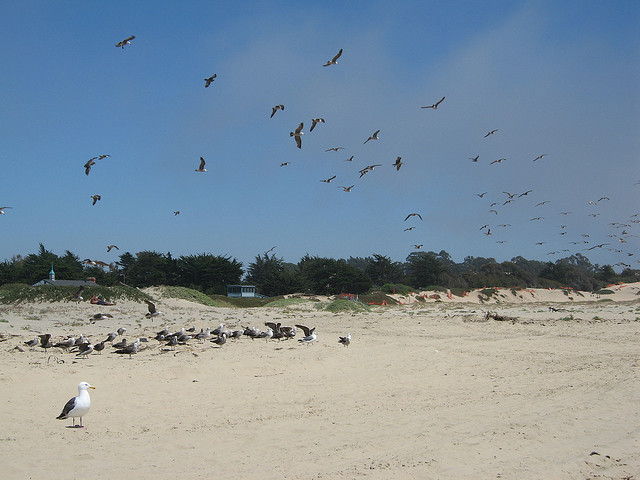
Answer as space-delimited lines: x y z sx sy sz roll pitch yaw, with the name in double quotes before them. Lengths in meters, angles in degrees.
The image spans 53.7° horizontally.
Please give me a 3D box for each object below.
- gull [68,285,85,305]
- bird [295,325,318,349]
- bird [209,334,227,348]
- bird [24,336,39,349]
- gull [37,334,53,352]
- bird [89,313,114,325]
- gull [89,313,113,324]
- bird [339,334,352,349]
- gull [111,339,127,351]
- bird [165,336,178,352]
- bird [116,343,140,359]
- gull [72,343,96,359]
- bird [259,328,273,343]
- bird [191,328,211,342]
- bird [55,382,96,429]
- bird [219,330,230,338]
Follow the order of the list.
"gull" -19.332 4.349 50.366 1.074 0.901 1.541 -2 -22 -6
"bird" -0.751 5.105 33.888 0.960 0.761 1.087 -4 -6 2
"bird" -5.300 5.224 33.293 0.727 0.571 1.137 -1 1 -10
"bird" -14.220 5.065 31.278 0.539 0.529 0.811 -1 1 -25
"gull" -13.598 4.932 31.243 0.680 0.541 0.864 -20 -20 3
"bird" -14.965 5.350 43.299 0.922 0.405 0.891 -18 -10 15
"gull" -14.963 5.336 43.252 0.759 0.360 0.893 27 3 12
"bird" 1.329 5.243 33.094 0.545 0.655 1.134 -1 1 2
"gull" -9.817 5.096 31.244 0.701 0.443 0.370 13 18 8
"bird" -7.527 5.209 32.384 0.506 0.626 1.103 -1 1 -13
"bird" -9.174 5.217 30.191 0.994 0.595 1.163 -1 1 -18
"gull" -11.105 5.148 29.922 0.740 0.680 1.250 -1 1 -22
"bird" -2.975 5.192 35.363 0.371 0.555 0.735 11 -26 -32
"bird" -6.508 5.231 35.182 0.665 0.691 1.286 -1 1 -5
"bird" -8.289 5.594 21.610 1.350 1.480 0.757 -4 -11 13
"bird" -5.242 5.114 34.825 0.311 0.387 0.360 -2 -15 0
